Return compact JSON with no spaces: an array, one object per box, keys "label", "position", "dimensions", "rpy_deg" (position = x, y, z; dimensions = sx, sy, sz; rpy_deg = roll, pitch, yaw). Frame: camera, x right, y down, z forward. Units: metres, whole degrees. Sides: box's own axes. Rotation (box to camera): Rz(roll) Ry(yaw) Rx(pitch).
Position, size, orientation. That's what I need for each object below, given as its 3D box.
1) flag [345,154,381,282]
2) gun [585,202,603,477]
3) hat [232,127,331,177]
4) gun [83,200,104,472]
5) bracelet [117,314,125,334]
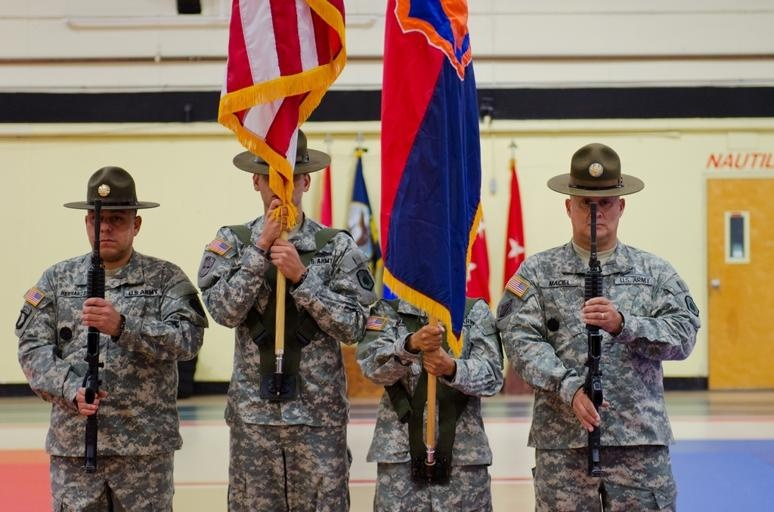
[{"label":"flag","position":[-0.309,-0.517,22.537],"dimensions":[0.386,1.685,0.175],"rpy_deg":[-1,15,-16]},{"label":"gun","position":[2.039,0.870,17.869],"dimensions":[0.270,2.322,0.316],"rpy_deg":[2,0,5]},{"label":"hat","position":[-1.061,-1.156,18.325],"dimensions":[0.940,0.305,0.949],"rpy_deg":[18,23,24]},{"label":"gun","position":[-2.922,0.784,18.029],"dimensions":[0.186,2.690,0.416],"rpy_deg":[0,-7,-9]},{"label":"bracelet","position":[-2.654,0.666,18.036],"dimensions":[0.058,0.154,0.137],"rpy_deg":[11,-1,-10]}]
